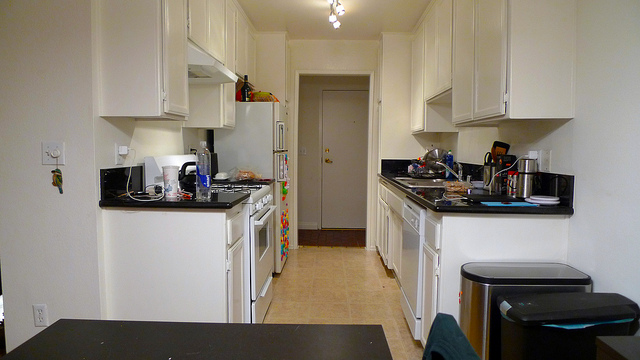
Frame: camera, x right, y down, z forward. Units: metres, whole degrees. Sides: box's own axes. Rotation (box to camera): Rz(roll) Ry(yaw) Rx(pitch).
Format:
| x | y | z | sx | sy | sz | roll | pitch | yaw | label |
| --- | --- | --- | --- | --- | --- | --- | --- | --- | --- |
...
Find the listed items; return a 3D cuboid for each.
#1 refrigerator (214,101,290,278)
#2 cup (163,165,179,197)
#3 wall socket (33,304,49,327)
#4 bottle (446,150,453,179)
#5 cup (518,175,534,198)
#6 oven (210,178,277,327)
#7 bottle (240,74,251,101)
| x | y | z | sx | sy | sz | roll | pitch | yaw | label |
| --- | --- | --- | --- | --- | --- | --- | --- | --- | --- |
| -0.703 | 0.119 | 5.002 | 0.858 | 1.976 | 0.700 | -3 | 14 | -18 | refrigerator |
| -1.199 | 0.017 | 3.591 | 0.112 | 0.241 | 0.138 | -3 | 14 | -18 | cup |
| -2.207 | 1.080 | 3.523 | 0.124 | 0.183 | 0.038 | 1 | 13 | -1 | wall socket |
| 1.507 | -0.173 | 5.142 | 0.084 | 0.283 | 0.406 | 5 | 12 | 16 | bottle |
| 1.684 | 0.054 | 3.640 | 0.107 | 0.185 | 0.075 | 6 | 14 | 19 | cup |
| -0.669 | 0.652 | 4.310 | 0.455 | 1.255 | 1.083 | 1 | 12 | -4 | oven |
| -0.834 | -1.038 | 5.021 | 0.111 | 0.283 | 0.193 | 0 | 13 | -9 | bottle |
